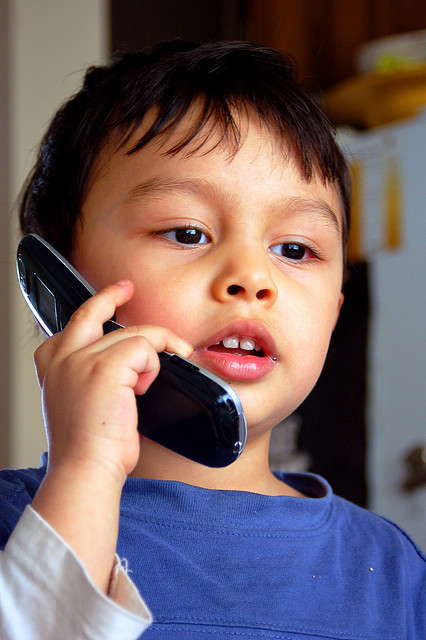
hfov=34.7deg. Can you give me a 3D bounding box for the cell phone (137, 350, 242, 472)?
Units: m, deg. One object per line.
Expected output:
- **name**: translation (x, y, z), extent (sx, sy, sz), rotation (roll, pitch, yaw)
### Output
- **cell phone**: translation (-0.023, 0.094, 0.702), extent (0.035, 0.084, 0.145), rotation (-12, 31, -39)
